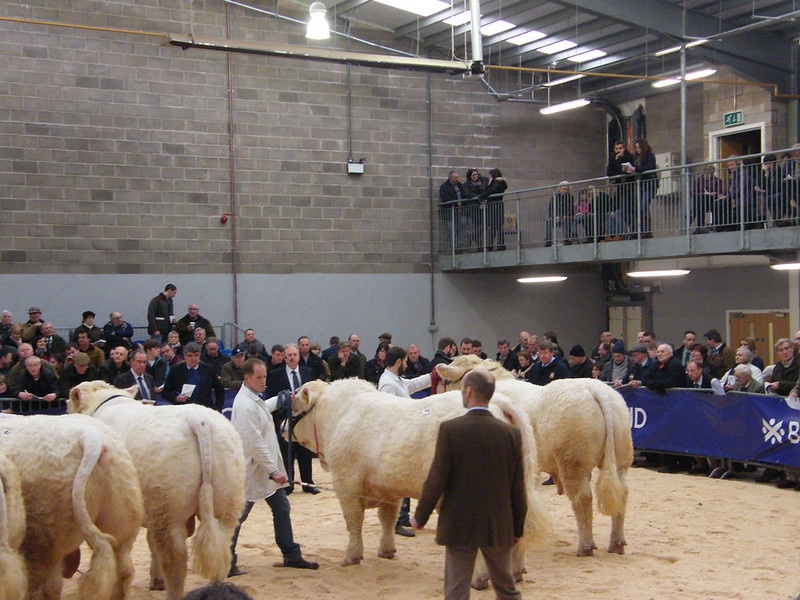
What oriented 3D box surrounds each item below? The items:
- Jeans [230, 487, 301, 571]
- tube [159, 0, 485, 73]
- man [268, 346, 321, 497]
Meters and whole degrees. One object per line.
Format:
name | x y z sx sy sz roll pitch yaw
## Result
Jeans | -2.099 3.542 19.441 1.219 1.627 0.464 0 5 6
tube | -1.302 -5.658 26.616 6.384 1.506 0.968 1 1 -17
man | -1.792 2.119 21.894 0.992 2.765 0.834 -6 19 -16
